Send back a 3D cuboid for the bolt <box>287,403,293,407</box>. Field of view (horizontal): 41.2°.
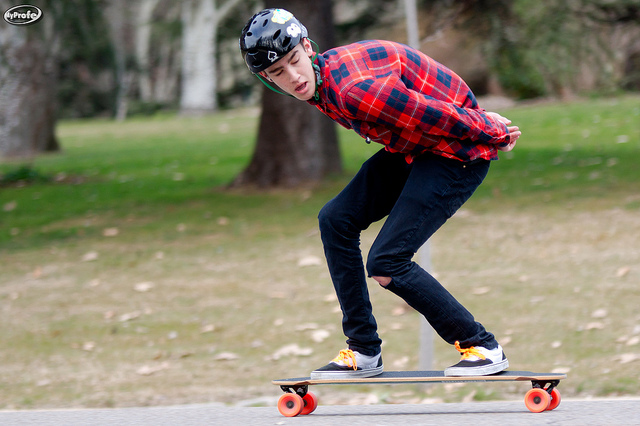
[{"bbox_3d":[-0.224,1.394,6.229,0.033,0.024,0.008,2,15,12],"label":"bolt"}]

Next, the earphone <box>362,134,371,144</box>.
[{"bbox_3d":[0.328,-0.519,6.037,0.051,0.086,0.033,8,63,28],"label":"earphone"}]

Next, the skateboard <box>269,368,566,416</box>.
[{"bbox_3d":[0.777,1.352,6.433,2.550,0.240,0.501,0,-1,5],"label":"skateboard"}]

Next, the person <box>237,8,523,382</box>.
[{"bbox_3d":[0.469,-0.102,6.074,1.788,2.641,0.645,1,16,8],"label":"person"}]

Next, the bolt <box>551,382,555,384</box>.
[{"bbox_3d":[1.646,1.209,6.109,0.023,0.016,0.008,4,16,23],"label":"bolt"}]
